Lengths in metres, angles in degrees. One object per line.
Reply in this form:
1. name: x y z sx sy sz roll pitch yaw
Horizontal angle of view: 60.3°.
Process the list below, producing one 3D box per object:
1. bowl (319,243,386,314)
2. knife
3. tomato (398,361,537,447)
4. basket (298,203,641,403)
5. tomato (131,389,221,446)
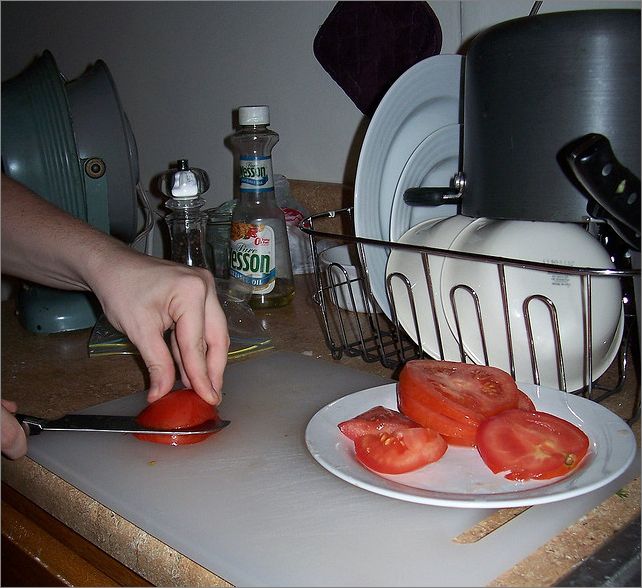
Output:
1. bowl: 0.044 -0.023 0.852 0.128 0.053 0.121 -1 24 0
2. knife: -0.197 0.128 0.543 0.199 0.014 0.035 0 4 8
3. tomato: 0.126 0.098 0.494 0.098 0.033 0.072 3 26 -15
4. basket: 0.146 0.001 0.656 0.347 0.109 0.222 20 37 35
5. tomato: -0.148 0.131 0.552 0.074 0.044 0.085 4 0 -18
